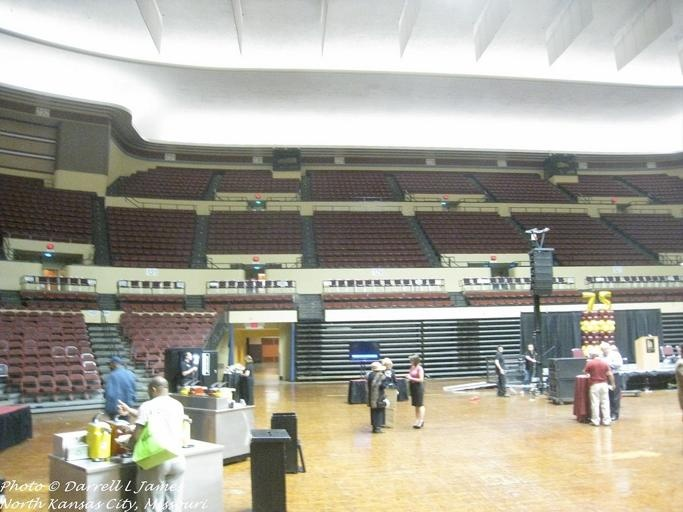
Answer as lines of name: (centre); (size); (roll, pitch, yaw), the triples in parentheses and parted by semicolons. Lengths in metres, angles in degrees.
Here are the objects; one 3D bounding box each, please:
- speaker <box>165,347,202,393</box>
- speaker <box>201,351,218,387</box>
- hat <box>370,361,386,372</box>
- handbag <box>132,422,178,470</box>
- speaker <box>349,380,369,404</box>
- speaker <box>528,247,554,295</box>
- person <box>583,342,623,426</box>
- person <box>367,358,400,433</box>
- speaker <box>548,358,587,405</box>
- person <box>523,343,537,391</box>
speaker: (-3.530, 2.810, 14.029); (0.391, 1.034, 0.459); (9, 6, 14)
speaker: (-3.192, 2.723, 14.660); (0.219, 0.822, 0.576); (-7, -10, 27)
hat: (0.849, 2.753, 14.947); (0.271, 0.092, 0.316); (-2, 5, -14)
handbag: (-2.935, 3.044, 9.655); (0.693, 0.670, 0.379); (-18, -21, -37)
speaker: (0.473, 4.195, 18.608); (0.566, 0.713, 0.352); (-2, -9, -1)
speaker: (6.157, 0.443, 18.720); (0.679, 1.473, 0.529); (-4, -9, 11)
person: (6.482, 3.310, 15.234); (0.650, 1.845, 0.892); (-5, -10, 19)
person: (0.994, 3.475, 15.095); (0.688, 1.734, 1.082); (-3, -9, 9)
speaker: (6.475, 3.631, 17.650); (1.505, 1.447, 1.088); (2, -8, -2)
person: (6.487, 3.838, 20.867); (0.416, 1.477, 1.419); (-5, -9, 16)
